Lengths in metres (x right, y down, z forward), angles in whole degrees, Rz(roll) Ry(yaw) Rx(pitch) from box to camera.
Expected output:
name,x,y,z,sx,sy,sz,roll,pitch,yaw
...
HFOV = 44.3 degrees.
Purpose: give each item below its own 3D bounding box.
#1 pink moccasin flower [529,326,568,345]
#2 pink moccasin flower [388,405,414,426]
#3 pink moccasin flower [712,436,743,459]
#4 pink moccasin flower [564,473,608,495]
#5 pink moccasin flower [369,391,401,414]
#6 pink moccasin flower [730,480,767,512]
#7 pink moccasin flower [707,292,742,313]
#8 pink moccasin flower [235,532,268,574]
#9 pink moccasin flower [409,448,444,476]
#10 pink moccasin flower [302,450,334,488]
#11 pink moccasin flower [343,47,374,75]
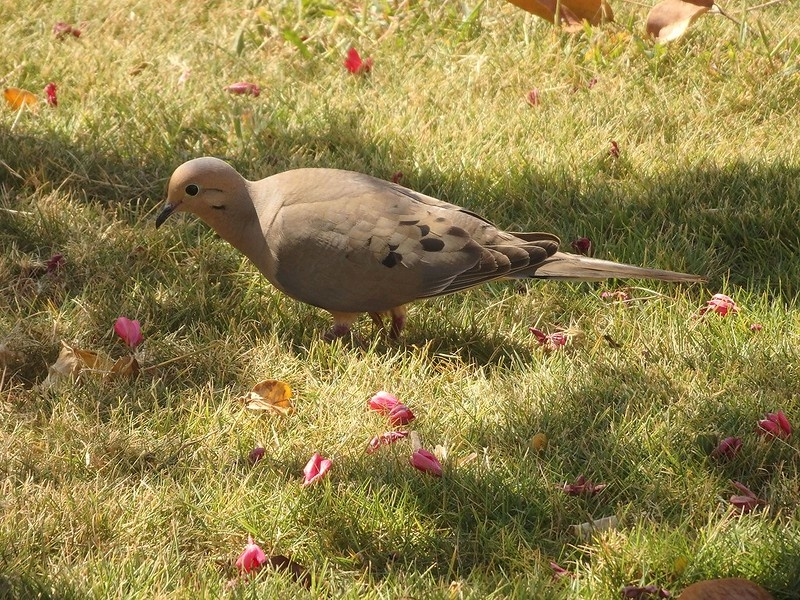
name,x,y,z,sx,sy,sz,roll,pitch,yaw
pink moccasin flower,0.691,0.167,4.515,0.109,0.088,0.057,-4,-6,-31
pink moccasin flower,0.012,0.475,4.040,0.112,0.075,0.067,-27,43,-31
pink moccasin flower,1.271,0.569,3.790,0.098,0.082,0.056,12,38,18
pink moccasin flower,0.692,0.710,3.725,0.097,0.038,0.096,1,0,38
pink moccasin flower,-0.058,0.431,4.101,0.107,0.052,0.080,-14,5,41
pink moccasin flower,1.293,0.730,3.647,0.123,0.064,0.090,0,51,6
pink moccasin flower,1.474,0.022,4.467,0.105,0.035,0.102,-9,20,-35
pink moccasin flower,-0.522,0.909,3.507,0.109,0.116,0.115,-29,14,-40
pink moccasin flower,0.103,0.617,3.723,0.119,0.053,0.084,24,51,11
pink moccasin flower,-0.312,0.638,3.722,0.111,0.039,0.112,30,74,27
pink moccasin flower,-0.263,-1.479,6.125,0.164,0.142,0.187,1,11,-2
